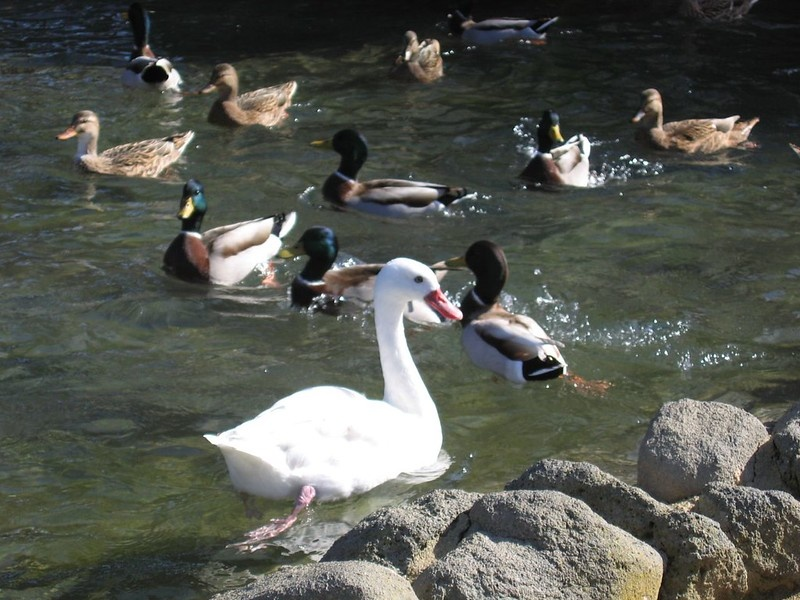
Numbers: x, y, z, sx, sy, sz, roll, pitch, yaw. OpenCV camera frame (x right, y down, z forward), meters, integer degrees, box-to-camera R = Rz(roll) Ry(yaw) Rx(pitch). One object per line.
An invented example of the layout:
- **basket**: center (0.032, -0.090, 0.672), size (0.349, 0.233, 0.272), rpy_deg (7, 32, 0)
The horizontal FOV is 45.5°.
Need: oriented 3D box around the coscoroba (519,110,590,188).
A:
- **coscoroba**: center (2.327, -2.151, 13.665), size (0.967, 1.096, 0.660), rpy_deg (-17, 28, -38)
